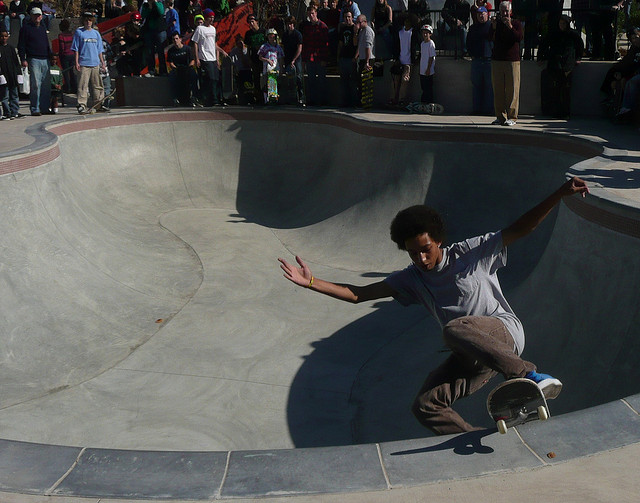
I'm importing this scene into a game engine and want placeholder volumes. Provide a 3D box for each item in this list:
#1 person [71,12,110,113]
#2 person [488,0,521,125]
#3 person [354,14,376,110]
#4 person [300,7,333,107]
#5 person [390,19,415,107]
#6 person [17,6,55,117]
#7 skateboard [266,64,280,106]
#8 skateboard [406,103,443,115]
[{"bbox_3d":[-5.038,-4.044,14.387,0.706,2.098,0.897,-9,19,-19],"label":"person"},{"bbox_3d":[3.244,-3.282,11.620,0.473,2.079,0.496,1,18,13],"label":"person"},{"bbox_3d":[0.961,-4.126,14.649,0.419,1.969,0.901,-2,18,3],"label":"person"},{"bbox_3d":[-0.111,-4.507,15.540,0.594,2.177,0.643,-2,18,4],"label":"person"},{"bbox_3d":[1.880,-4.139,14.639,0.556,1.805,0.801,-8,18,-14],"label":"person"},{"bbox_3d":[-6.161,-4.052,14.368,0.620,2.249,1.061,-10,19,-22],"label":"person"},{"bbox_3d":[-1.085,-3.878,15.491,0.395,0.930,0.160,-16,22,-36],"label":"skateboard"},{"bbox_3d":[2.267,-3.094,14.512,0.778,0.275,0.312,5,12,18],"label":"skateboard"}]
